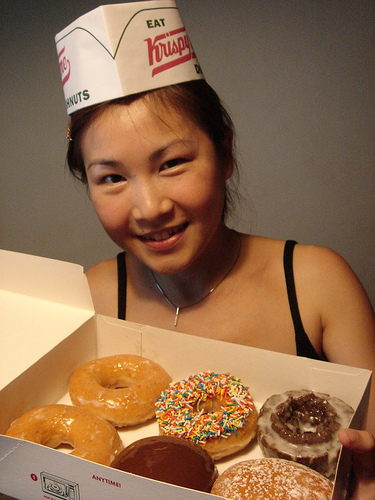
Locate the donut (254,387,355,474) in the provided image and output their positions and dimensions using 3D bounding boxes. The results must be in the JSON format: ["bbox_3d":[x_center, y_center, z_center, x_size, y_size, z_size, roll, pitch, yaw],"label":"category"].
[{"bbox_3d":[0.281,0.433,1.097,0.226,0.097,0.232,2,17,21],"label":"donut"}]

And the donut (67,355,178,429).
[{"bbox_3d":[-0.214,0.427,1.401,0.307,0.105,0.315,13,19,30],"label":"donut"}]

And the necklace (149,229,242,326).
[{"bbox_3d":[0.051,0.110,1.785,0.316,0.386,0.009,14,-3,32],"label":"necklace"}]

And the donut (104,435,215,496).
[{"bbox_3d":[-0.048,0.468,1.002,0.230,0.058,0.163,4,18,29],"label":"donut"}]
